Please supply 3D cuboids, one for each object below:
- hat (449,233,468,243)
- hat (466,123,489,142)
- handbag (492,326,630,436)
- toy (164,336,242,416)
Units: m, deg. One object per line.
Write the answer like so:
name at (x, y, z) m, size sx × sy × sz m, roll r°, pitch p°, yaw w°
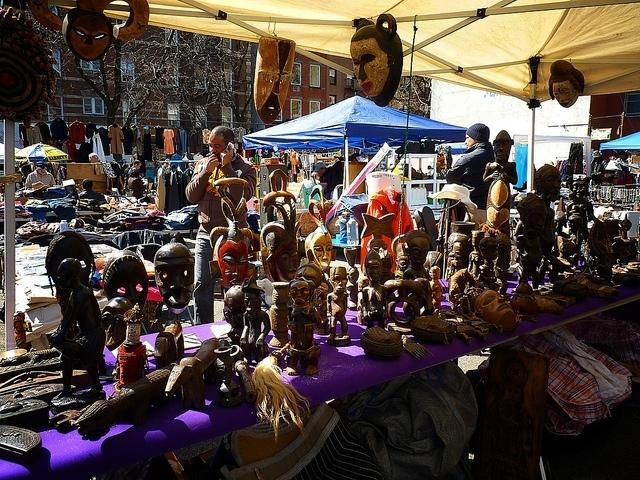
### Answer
hat at (0.942, -0.017, 3.623) m, size 0.072 × 0.043 × 0.075 m, roll 6°, pitch 8°, yaw 36°
hat at (1.705, -1.141, 5.741) m, size 0.191 × 0.182 × 0.187 m, roll -4°, pitch 16°, yaw 40°
handbag at (1.758, 1.208, 3.939) m, size 0.723 × 0.264 × 0.760 m, roll 34°, pitch 47°, yaw 27°
toy at (-0.597, 0.673, 2.588) m, size 0.127 × 0.244 × 0.602 m, roll -6°, pitch 5°, yaw 11°
